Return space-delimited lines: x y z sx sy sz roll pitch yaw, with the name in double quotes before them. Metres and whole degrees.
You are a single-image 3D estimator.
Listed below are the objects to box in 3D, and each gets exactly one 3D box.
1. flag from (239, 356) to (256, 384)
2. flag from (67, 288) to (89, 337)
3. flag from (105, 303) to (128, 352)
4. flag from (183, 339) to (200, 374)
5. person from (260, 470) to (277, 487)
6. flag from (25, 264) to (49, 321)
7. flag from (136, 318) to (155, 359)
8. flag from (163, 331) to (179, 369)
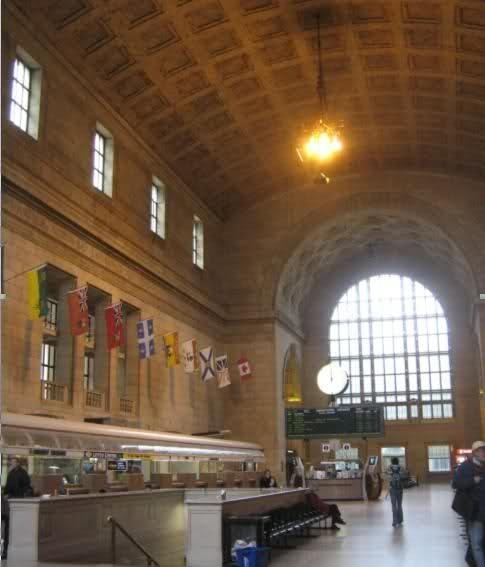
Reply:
"flag" 0.208 4.039 26.631 0.781 1.140 0.120 -32 -41 25
"flag" -4.095 0.730 14.450 0.056 1.436 1.020 -8 -11 23
"flag" -3.726 1.307 17.033 0.103 1.835 1.284 -6 -12 20
"flag" -1.948 2.600 21.076 0.377 1.299 0.968 -4 -16 7
"person" 0.738 5.980 17.764 0.279 0.495 0.771 -11 -19 28
"flag" -4.487 0.195 12.749 0.400 1.121 0.690 3 -17 -17
"flag" -2.993 1.701 17.877 0.472 1.131 0.442 -1 -15 -5
"flag" -2.468 2.301 20.225 0.461 1.158 0.565 1 -16 -9
